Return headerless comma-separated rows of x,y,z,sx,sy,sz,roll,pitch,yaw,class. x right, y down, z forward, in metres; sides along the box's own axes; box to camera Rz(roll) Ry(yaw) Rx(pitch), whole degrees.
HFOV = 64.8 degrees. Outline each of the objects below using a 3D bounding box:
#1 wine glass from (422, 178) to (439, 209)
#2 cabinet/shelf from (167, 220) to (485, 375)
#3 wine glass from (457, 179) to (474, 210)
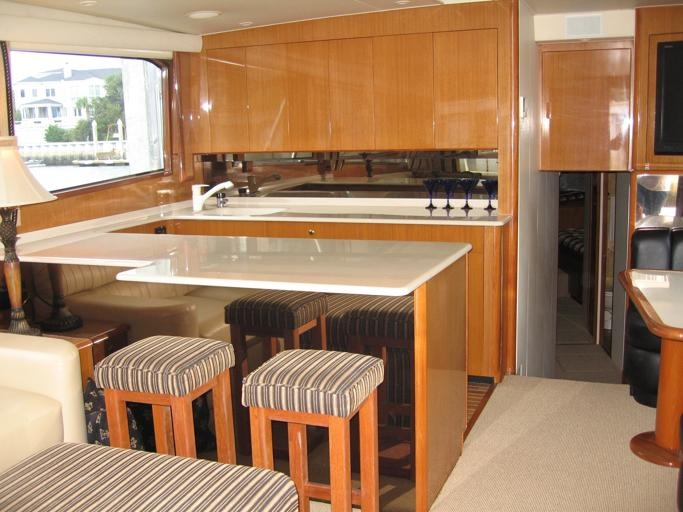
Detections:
0.754,-0.508,4.495,0.122,0.267,0.305,-2,9,8,wine glass
0.108,0.188,4.748,2.539,1.061,0.655,-1,9,25,cabinet/shelf
1.034,-0.498,4.419,0.127,0.266,0.266,-1,9,12,wine glass
